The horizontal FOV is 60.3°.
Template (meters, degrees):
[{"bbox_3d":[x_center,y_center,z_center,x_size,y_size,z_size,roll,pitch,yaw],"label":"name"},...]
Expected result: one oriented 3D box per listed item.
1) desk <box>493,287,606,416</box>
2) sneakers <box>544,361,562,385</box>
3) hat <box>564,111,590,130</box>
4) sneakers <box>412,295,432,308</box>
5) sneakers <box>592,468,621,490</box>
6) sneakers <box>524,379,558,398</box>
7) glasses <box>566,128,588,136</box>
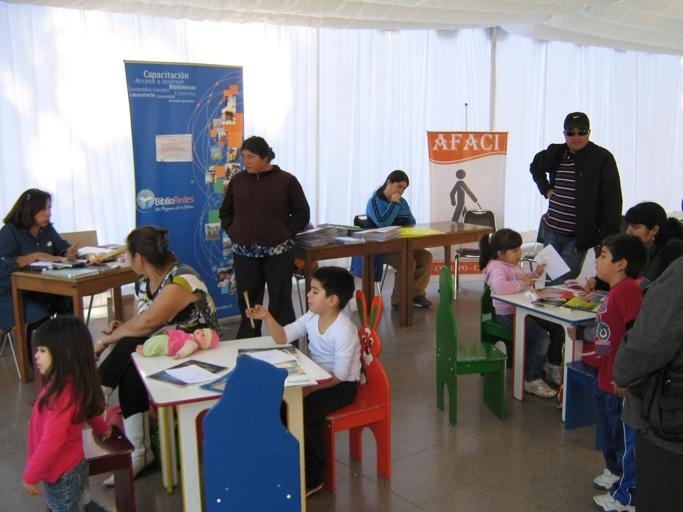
[{"bbox_3d":[1.371,0.632,4.097,0.650,0.700,0.659,-5,10,-34],"label":"desk"},{"bbox_3d":[1.622,0.896,4.557,0.086,0.136,0.181,-6,9,-36],"label":"sneakers"},{"bbox_3d":[1.957,-1.133,4.872,0.138,0.127,0.212,1,-2,23],"label":"hat"},{"bbox_3d":[0.878,0.493,6.492,0.091,0.120,0.251,-6,8,-38],"label":"sneakers"},{"bbox_3d":[1.504,1.252,3.333,0.129,0.101,0.071,5,5,24],"label":"sneakers"},{"bbox_3d":[1.477,0.956,4.331,0.188,0.094,0.111,6,14,40],"label":"sneakers"},{"bbox_3d":[1.933,-1.017,4.827,0.181,0.071,0.126,5,15,20],"label":"glasses"}]
